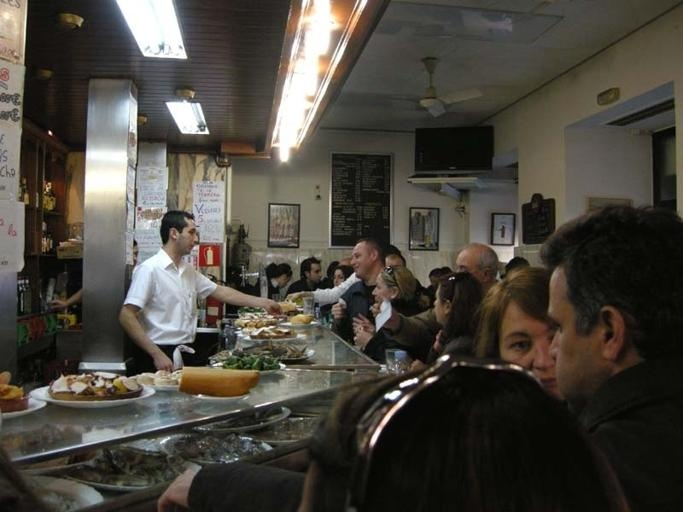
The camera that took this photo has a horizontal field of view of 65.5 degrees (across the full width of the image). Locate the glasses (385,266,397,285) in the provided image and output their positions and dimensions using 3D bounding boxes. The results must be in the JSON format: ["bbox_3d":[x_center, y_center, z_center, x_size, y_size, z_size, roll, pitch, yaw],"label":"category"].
[{"bbox_3d":[0.315,0.132,3.433,0.052,0.094,0.078,1,-2,-6],"label":"glasses"}]

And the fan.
[{"bbox_3d":[1.101,-1.716,5.649,0.631,0.607,0.801,-1,-1,-38],"label":"fan"}]
